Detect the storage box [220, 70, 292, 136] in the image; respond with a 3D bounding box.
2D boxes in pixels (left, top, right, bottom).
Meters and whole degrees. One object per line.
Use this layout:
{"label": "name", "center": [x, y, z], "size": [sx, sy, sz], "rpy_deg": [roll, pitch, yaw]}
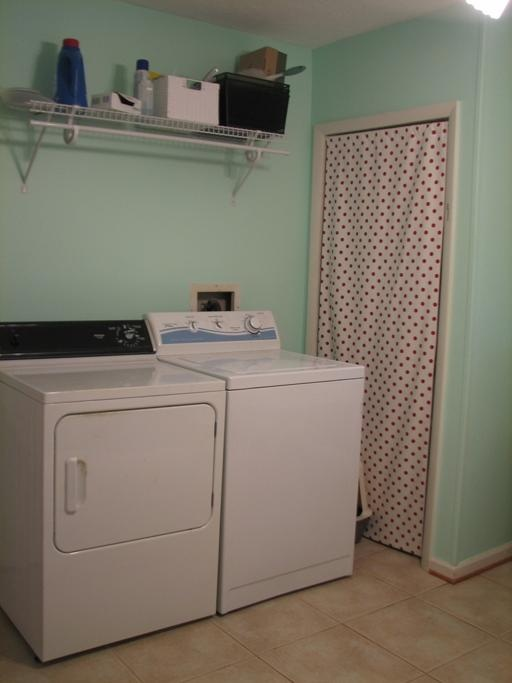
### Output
{"label": "storage box", "center": [-0.006, -0.987, 2.212], "size": [0.273, 0.235, 0.196], "rpy_deg": [-2, 7, -33]}
